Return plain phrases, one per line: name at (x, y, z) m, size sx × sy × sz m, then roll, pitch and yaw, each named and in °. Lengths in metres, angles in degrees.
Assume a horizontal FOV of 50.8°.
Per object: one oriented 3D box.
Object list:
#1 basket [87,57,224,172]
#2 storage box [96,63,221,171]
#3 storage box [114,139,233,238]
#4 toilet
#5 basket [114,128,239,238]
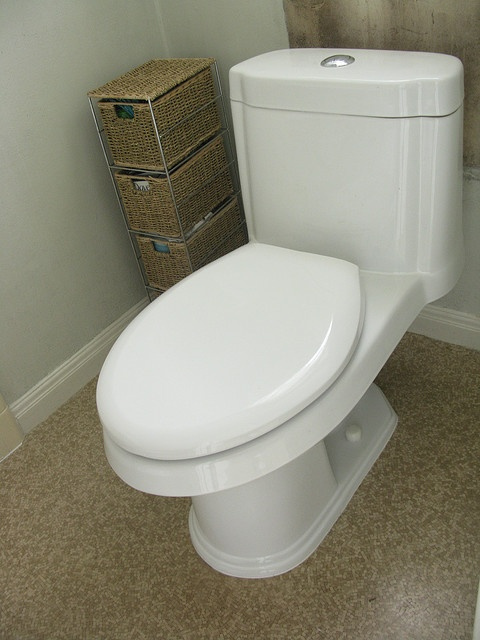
basket at (-0.171, -0.464, 1.175) m, size 0.193 × 0.218 × 0.318 m, roll 14°, pitch 48°, yaw 26°
storage box at (-0.183, -0.409, 1.109) m, size 0.167 × 0.155 × 0.229 m, roll -36°, pitch 26°, yaw -25°
storage box at (-0.148, -0.353, 1.206) m, size 0.164 × 0.177 × 0.275 m, roll 8°, pitch 47°, yaw 31°
toilet at (0.058, 0.020, 0.821) m, size 0.388 × 0.683 × 0.667 m, roll 19°, pitch 45°, yaw 37°
basket at (-0.136, -0.330, 1.239) m, size 0.167 × 0.167 × 0.298 m, roll 12°, pitch 52°, yaw 36°
